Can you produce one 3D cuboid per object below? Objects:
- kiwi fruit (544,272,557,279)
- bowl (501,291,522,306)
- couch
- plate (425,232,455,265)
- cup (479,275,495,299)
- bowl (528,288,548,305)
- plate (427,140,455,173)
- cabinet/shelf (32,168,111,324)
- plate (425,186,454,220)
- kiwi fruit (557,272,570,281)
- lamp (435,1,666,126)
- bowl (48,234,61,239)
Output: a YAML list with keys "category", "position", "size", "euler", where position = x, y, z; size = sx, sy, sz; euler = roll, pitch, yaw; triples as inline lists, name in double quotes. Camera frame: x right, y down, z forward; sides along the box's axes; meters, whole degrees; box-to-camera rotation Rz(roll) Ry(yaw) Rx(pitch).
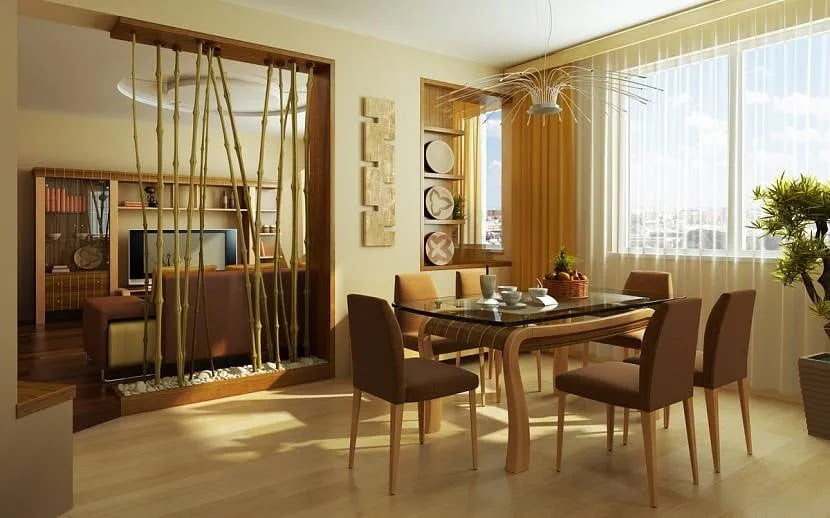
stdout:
- category: "kiwi fruit"
  position: [1.267, 0.159, 5.615]
  size: [0.086, 0.050, 0.092]
  euler: [-2, 5, 1]
- category: "bowl"
  position: [0.816, 0.335, 5.129]
  size: [0.128, 0.083, 0.126]
  euler: [0, 0, 0]
- category: "couch"
  position: [-2.646, 0.665, 6.413]
  size: [1.948, 1.021, 1.030]
  euler: [-2, 7, -35]
- category: "plate"
  position: [0.287, -0.129, 7.340]
  size: [0.203, 0.417, 0.409]
  euler: [2, 7, 37]
- category: "cup"
  position: [0.641, 0.246, 5.426]
  size: [0.175, 0.282, 0.190]
  euler: [0, 4, 0]
- category: "bowl"
  position: [1.083, 0.333, 5.305]
  size: [0.139, 0.100, 0.142]
  euler: [1, 2, 0]
- category: "plate"
  position: [0.288, -1.260, 7.394]
  size: [0.435, 0.403, 0.125]
  euler: [-6, 7, -39]
- category: "cabinet/shelf"
  position: [-5.181, -0.238, 9.206]
  size: [1.224, 2.290, 0.330]
  euler: [-6, 6, -33]
- category: "plate"
  position: [0.295, -0.687, 7.348]
  size: [0.385, 0.390, 0.090]
  euler: [14, -6, -33]
- category: "kiwi fruit"
  position: [1.368, 0.156, 5.545]
  size: [0.075, 0.045, 0.076]
  euler: [-12, 11, -32]
- category: "lamp"
  position: [1.398, -2.095, 6.847]
  size: [1.905, 1.239, 2.194]
  euler: [-6, 6, -33]
- category: "bowl"
  position: [-5.464, -0.346, 9.114]
  size: [0.099, 0.062, 0.101]
  euler: [1, -2, 0]
